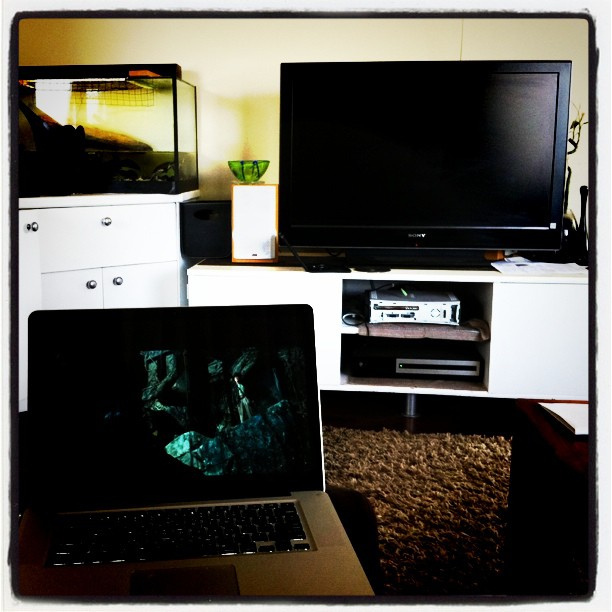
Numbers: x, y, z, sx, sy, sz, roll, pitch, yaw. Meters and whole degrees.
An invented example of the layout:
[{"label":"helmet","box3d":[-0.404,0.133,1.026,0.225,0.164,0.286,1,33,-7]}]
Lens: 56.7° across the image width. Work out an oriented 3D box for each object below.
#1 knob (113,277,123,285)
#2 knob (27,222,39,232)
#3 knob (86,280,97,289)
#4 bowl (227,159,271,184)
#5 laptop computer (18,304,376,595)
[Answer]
[{"label":"knob","box3d":[-0.726,-0.095,2.183,0.026,0.025,0.026,27,46,26]},{"label":"knob","box3d":[-0.959,-0.276,1.993,0.010,0.034,0.039,10,16,32]},{"label":"knob","box3d":[-0.810,-0.081,2.138,0.026,0.029,0.029,1,34,13]},{"label":"bowl","box3d":[-0.212,-0.527,2.233,0.137,0.085,0.132,1,14,0]},{"label":"laptop computer","box3d":[-0.145,0.113,0.663,0.363,0.245,0.322,0,7,-8]}]
